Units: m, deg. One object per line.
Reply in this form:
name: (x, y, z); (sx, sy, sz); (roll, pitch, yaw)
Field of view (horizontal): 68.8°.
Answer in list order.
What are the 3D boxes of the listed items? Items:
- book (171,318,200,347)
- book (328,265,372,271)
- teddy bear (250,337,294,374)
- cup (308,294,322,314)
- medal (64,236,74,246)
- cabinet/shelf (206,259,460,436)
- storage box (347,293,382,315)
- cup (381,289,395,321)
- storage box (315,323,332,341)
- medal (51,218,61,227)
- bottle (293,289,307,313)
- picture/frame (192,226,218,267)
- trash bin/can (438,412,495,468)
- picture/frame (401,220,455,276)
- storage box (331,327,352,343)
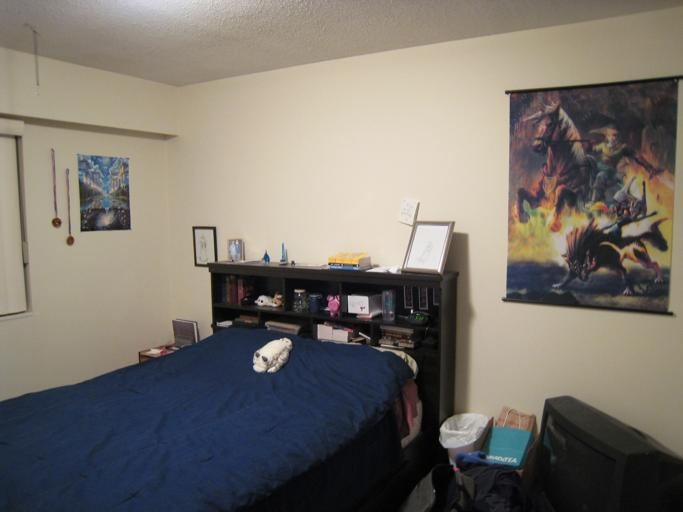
book: (-1.483, 0.736, 4.754); (0.230, 0.244, 0.090); (1, 4, 27)
book: (0.063, 0.093, 3.914); (0.330, 0.040, 0.150); (2, 4, 3)
teddy bear: (-0.503, 0.713, 3.676); (0.255, 0.124, 0.361); (14, 29, 31)
cup: (-0.217, 0.388, 4.157); (0.141, 0.149, 0.100); (0, 2, -8)
medal: (-2.430, -0.135, 4.476); (0.019, 0.090, 0.076); (4, 5, 31)
cabinet/shelf: (-0.189, 0.626, 4.164); (1.834, 1.116, 0.474); (3, 6, 18)
storage box: (0.190, 0.365, 3.956); (0.173, 0.120, 0.183); (0, 1, 16)
cup: (0.364, 0.386, 3.886); (0.115, 0.229, 0.195); (2, 4, 6)
storage box: (-0.141, 0.613, 3.982); (0.118, 0.100, 0.121); (3, 6, 23)
medal: (-2.511, -0.293, 4.403); (0.022, 0.089, 0.076); (4, 5, 33)
bottle: (-0.347, 0.376, 4.162); (0.148, 0.178, 0.149); (4, 6, 41)
picture/frame: (-1.354, -0.087, 4.931); (0.013, 0.402, 0.333); (-2, 0, 23)
trash bin/can: (0.904, 1.320, 3.656); (0.323, 0.226, 0.466); (4, 5, 27)
picture/frame: (0.664, -0.053, 3.757); (0.390, 0.483, 0.036); (6, -26, 35)
storage box: (-0.008, 0.625, 3.915); (0.106, 0.073, 0.112); (2, 4, 22)
